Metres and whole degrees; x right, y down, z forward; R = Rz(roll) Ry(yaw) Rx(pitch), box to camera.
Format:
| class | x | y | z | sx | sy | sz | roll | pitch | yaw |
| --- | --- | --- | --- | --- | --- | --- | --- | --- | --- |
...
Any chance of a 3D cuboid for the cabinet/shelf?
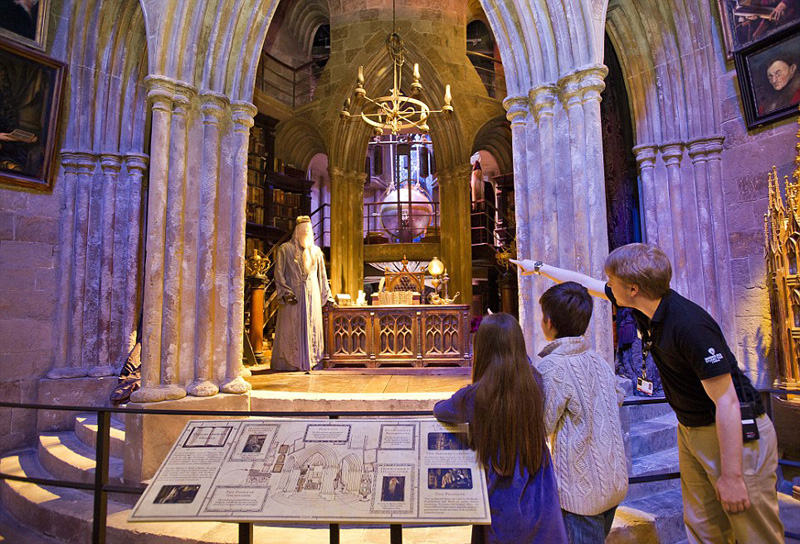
| class | x | y | z | sx | sy | sz | roll | pitch | yaw |
| --- | --- | --- | --- | --- | --- | --- | --- | --- | --- |
| cabinet/shelf | -3.422 | -2.190 | 14.661 | 1.039 | 3.382 | 2.786 | -1 | 5 | 5 |

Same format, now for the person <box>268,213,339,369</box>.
| class | x | y | z | sx | sy | sz | roll | pitch | yaw |
| --- | --- | --- | --- | --- | --- | --- | --- | --- | --- |
| person | -1.488 | 0.300 | 8.408 | 0.884 | 2.323 | 0.634 | 0 | -3 | -14 |

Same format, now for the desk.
| class | x | y | z | sx | sy | sz | roll | pitch | yaw |
| --- | --- | --- | --- | --- | --- | --- | --- | --- | --- |
| desk | -0.047 | 0.941 | 8.594 | 2.149 | 0.962 | 0.758 | -1 | 3 | 0 |
